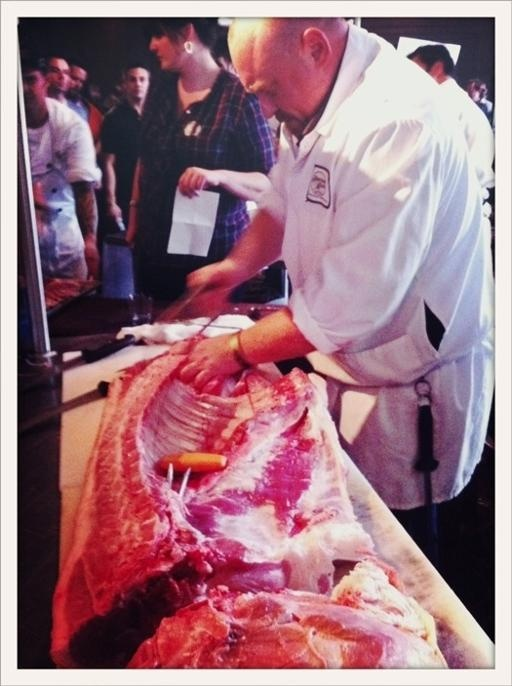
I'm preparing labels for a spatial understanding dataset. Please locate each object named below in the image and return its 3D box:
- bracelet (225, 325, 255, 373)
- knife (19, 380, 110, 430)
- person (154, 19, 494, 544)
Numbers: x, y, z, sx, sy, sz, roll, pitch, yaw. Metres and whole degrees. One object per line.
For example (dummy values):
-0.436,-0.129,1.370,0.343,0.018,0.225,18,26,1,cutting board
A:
-0.045,0.022,1.510,0.057,0.097,0.084,-1,16,-13,bracelet
-0.508,0.166,1.491,0.183,0.055,0.028,-29,18,-11,knife
0.183,-0.510,2.171,0.971,2.007,1.069,-2,23,6,person
